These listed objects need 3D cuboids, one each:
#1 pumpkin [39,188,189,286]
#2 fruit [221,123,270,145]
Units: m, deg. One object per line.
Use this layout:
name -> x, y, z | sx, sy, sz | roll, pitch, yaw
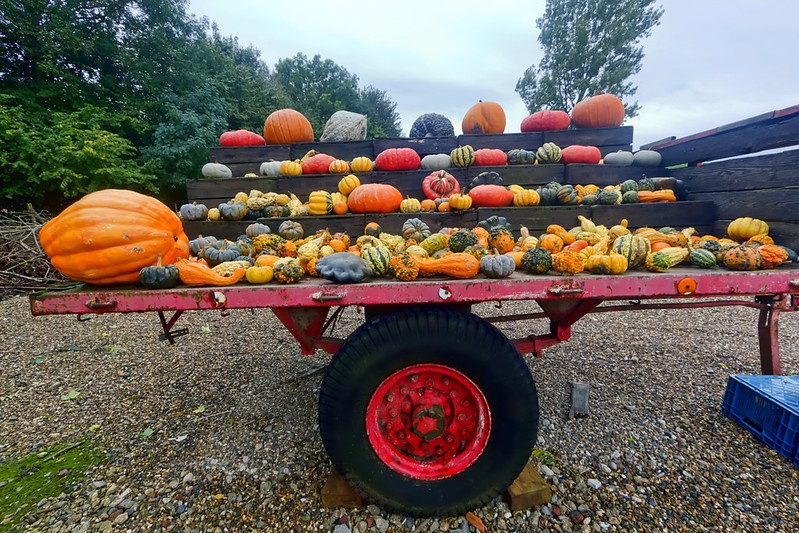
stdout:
pumpkin -> -3.584, -0.385, 5.617 | 1.702, 1.007, 1.242 | -17, 24, -41
fruit -> -3.606, -2.964, 10.143 | 0.767, 0.354, 0.718 | 6, 11, 25
